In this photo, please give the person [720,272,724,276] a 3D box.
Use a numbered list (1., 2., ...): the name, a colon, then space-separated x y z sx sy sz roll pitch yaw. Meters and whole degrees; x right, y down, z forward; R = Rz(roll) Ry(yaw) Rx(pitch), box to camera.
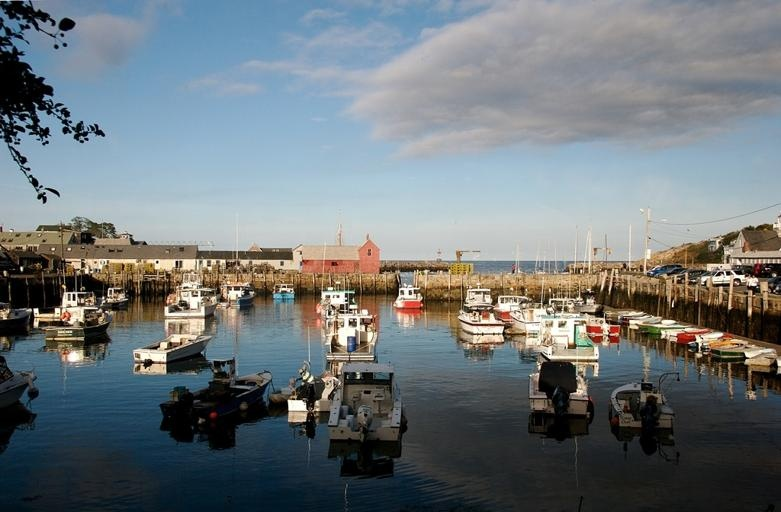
1. person: 33.510 1.853 63.759 0.603 0.210 0.908 4 12 19
